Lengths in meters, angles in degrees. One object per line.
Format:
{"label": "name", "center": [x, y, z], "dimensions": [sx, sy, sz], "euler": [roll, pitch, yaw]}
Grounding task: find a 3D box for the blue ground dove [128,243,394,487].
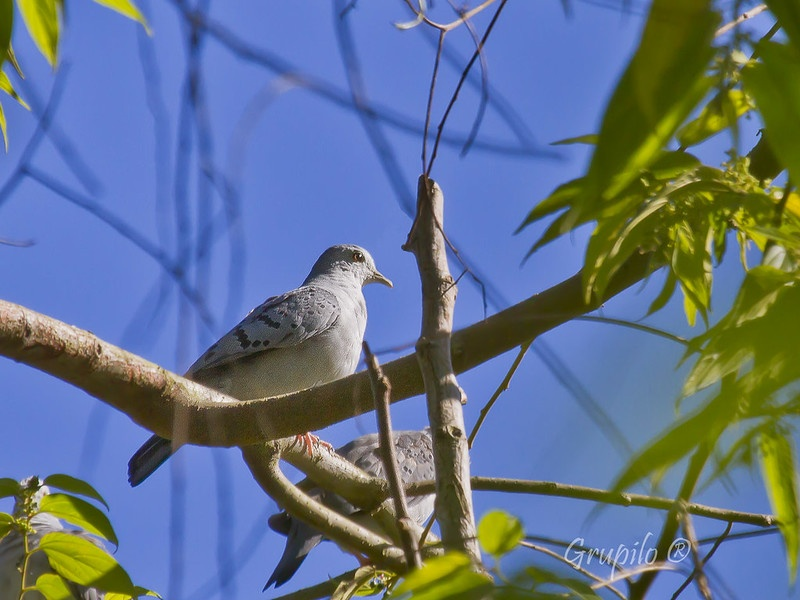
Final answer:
{"label": "blue ground dove", "center": [-0.611, 0.234, 5.751], "dimensions": [1.248, 0.621, 0.889], "euler": [-5, 66, -9]}
